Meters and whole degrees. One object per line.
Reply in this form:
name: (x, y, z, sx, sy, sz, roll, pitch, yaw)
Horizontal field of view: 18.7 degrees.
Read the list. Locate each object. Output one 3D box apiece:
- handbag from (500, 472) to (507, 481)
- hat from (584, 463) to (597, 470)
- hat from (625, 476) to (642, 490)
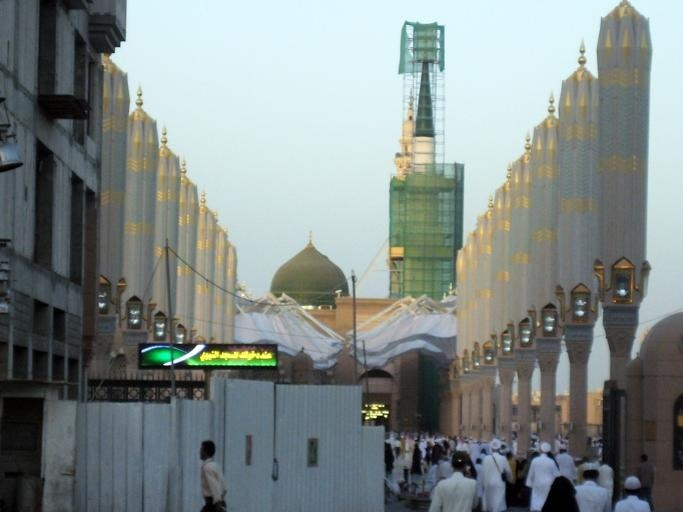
handbag: (4.141, 5.706, 52.796, 0.114, 0.235, 0.054, -3, -4, 0)
hat: (5.764, 4.991, 48.222, 0.329, 0.113, 0.328, 1, -4, 13)
hat: (6.540, 5.206, 46.703, 0.323, 0.318, 0.267, -1, -16, 4)
